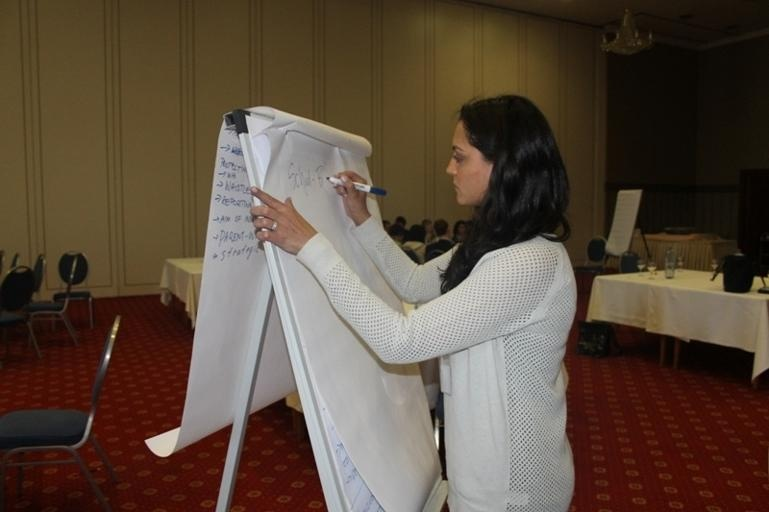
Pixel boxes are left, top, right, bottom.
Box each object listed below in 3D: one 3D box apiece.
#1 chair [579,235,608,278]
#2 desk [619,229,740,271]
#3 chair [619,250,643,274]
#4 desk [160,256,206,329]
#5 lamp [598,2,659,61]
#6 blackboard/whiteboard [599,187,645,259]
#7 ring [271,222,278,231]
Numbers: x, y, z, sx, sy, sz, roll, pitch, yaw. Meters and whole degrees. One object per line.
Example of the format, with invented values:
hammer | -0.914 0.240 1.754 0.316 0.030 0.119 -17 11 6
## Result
chair | 3.634 0.160 9.662 0.481 1.027 0.571 -1 0 40
desk | 5.999 -0.101 11.481 1.415 0.671 1.522 5 4 -9
chair | 3.190 0.076 7.092 0.203 0.391 0.244 -1 -4 9
desk | -2.695 0.492 7.389 0.494 0.817 1.684 -2 10 -25
lamp | 3.881 -3.630 8.785 0.657 0.905 0.722 2 4 -18
blackboard/whiteboard | 4.561 -0.568 10.482 0.519 1.391 2.066 5 9 24
ring | -0.485 -0.131 2.442 0.007 0.036 0.023 12 -3 41
